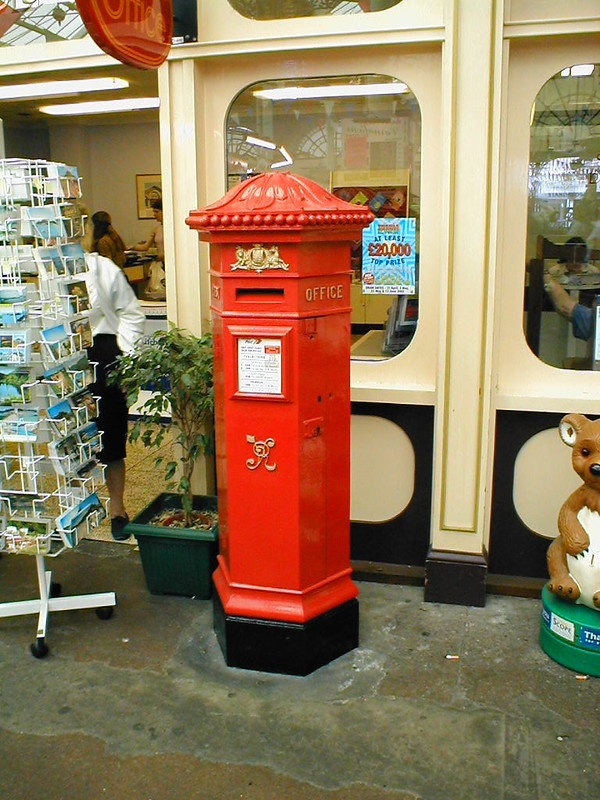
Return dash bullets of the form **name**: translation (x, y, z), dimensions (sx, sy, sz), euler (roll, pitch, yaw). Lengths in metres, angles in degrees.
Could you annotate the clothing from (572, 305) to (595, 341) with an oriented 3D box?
- **clothing**: translation (1.338, -0.365, 3.123), dimensions (0.103, 0.165, 0.021), euler (-1, 8, 1)
